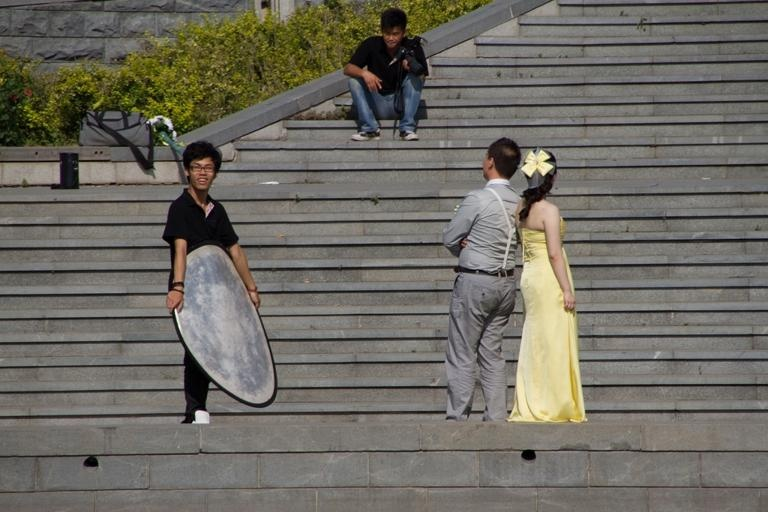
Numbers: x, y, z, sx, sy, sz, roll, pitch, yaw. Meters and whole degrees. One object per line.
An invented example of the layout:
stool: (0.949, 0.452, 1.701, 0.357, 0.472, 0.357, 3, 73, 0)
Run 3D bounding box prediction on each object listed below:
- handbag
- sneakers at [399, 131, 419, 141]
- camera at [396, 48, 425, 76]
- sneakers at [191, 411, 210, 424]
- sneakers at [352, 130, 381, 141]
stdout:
handbag: (-4.103, -1.763, 43.405, 1.181, 0.798, 0.423, 5, 26, 10)
sneakers: (0.339, -1.808, 43.290, 0.272, 0.142, 0.222, 0, 24, -2)
camera: (0.378, -2.916, 43.121, 0.408, 0.157, 0.386, 29, 63, -2)
sneakers: (-2.560, 2.205, 39.006, 0.200, 0.184, 0.181, -1, -4, 3)
sneakers: (-0.320, -1.806, 43.255, 0.429, 0.166, 0.148, 1, 2, -7)
